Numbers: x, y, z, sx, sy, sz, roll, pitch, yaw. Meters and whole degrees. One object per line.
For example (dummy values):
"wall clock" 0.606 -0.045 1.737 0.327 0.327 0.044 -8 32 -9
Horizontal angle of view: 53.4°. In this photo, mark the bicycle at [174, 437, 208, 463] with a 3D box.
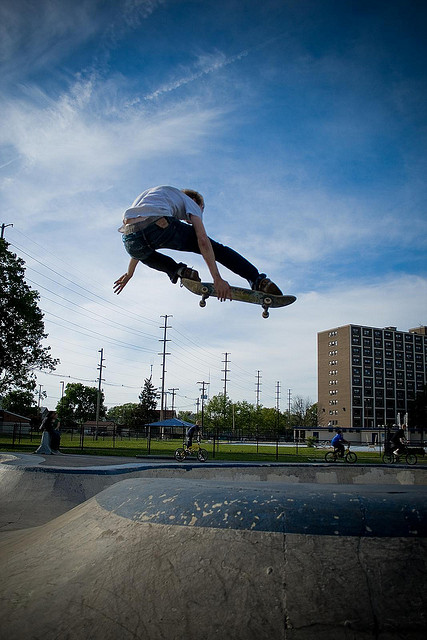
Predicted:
"bicycle" -0.685 5.154 16.908 1.739 1.050 0.880 3 -12 -13

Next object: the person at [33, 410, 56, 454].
"person" -5.222 3.744 13.464 0.867 1.441 0.773 4 15 -22

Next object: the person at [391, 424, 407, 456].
"person" 7.807 5.161 17.935 0.593 1.164 0.875 -1 -9 22
